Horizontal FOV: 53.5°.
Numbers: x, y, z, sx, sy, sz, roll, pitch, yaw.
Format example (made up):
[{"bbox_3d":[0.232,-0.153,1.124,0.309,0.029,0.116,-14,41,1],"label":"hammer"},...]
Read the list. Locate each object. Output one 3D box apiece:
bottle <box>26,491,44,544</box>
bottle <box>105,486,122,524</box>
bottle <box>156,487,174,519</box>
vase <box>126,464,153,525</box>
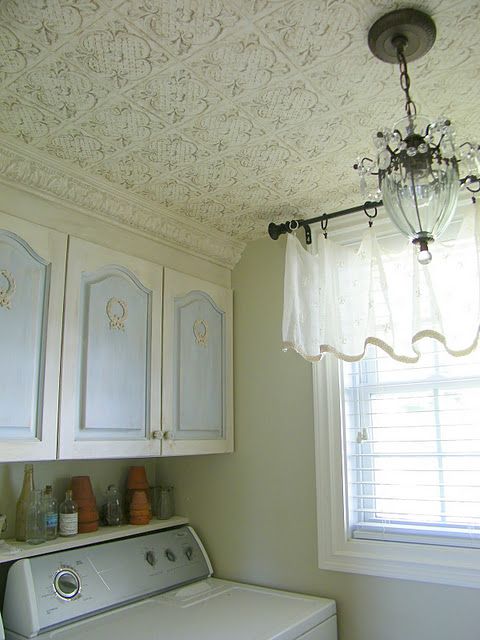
[{"bbox_3d":[-0.674,0.647,1.567,0.054,0.157,0.052,-3,-8,0],"label":"bottle"},{"bbox_3d":[-0.507,0.742,1.907,0.065,0.141,0.071,-3,-9,0],"label":"bottle"},{"bbox_3d":[-0.326,0.812,2.126,0.042,0.134,0.097,-10,-11,38],"label":"bottle"},{"bbox_3d":[-0.427,0.737,2.002,0.089,0.219,0.152,-1,-9,-13],"label":"vase"}]
